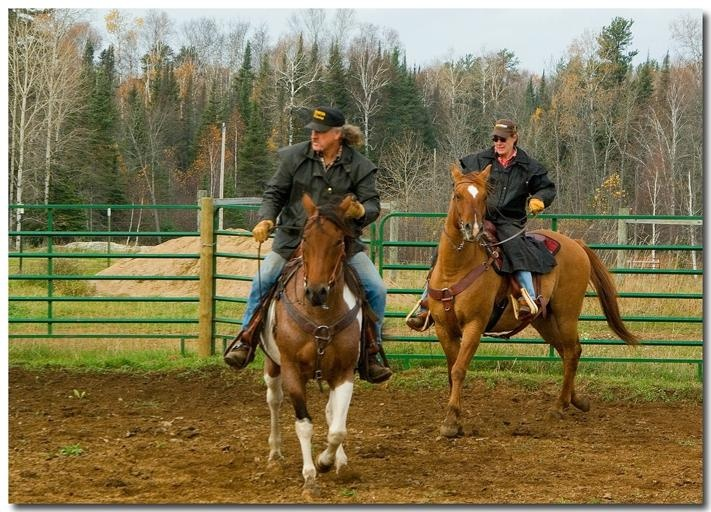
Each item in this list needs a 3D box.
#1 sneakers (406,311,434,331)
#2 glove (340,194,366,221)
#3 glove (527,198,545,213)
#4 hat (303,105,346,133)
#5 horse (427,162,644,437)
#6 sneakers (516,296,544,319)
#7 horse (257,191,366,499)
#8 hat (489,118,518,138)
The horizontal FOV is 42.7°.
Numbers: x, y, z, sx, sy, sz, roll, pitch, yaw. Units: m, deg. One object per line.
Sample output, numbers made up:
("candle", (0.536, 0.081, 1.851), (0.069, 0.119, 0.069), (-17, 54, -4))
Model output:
("sneakers", (1.063, 1.099, 15.119), (0.383, 0.178, 0.295), (-2, -13, 45))
("glove", (-0.034, -0.653, 12.752), (0.260, 0.179, 0.341), (15, 26, -53))
("glove", (2.933, -0.785, 14.723), (0.244, 0.257, 0.306), (0, 3, 10))
("hat", (-0.424, -1.992, 13.332), (0.484, 0.252, 0.347), (1, 12, -17))
("horse", (2.669, 0.685, 15.047), (3.070, 4.266, 1.059), (-2, 3, -32))
("sneakers", (2.843, 0.882, 14.812), (0.490, 0.234, 0.283), (-7, 34, -24))
("horse", (-0.675, 1.215, 13.290), (1.595, 4.188, 1.672), (1, 3, 19))
("hat", (2.453, -2.072, 15.009), (0.379, 0.328, 0.402), (0, 3, 10))
